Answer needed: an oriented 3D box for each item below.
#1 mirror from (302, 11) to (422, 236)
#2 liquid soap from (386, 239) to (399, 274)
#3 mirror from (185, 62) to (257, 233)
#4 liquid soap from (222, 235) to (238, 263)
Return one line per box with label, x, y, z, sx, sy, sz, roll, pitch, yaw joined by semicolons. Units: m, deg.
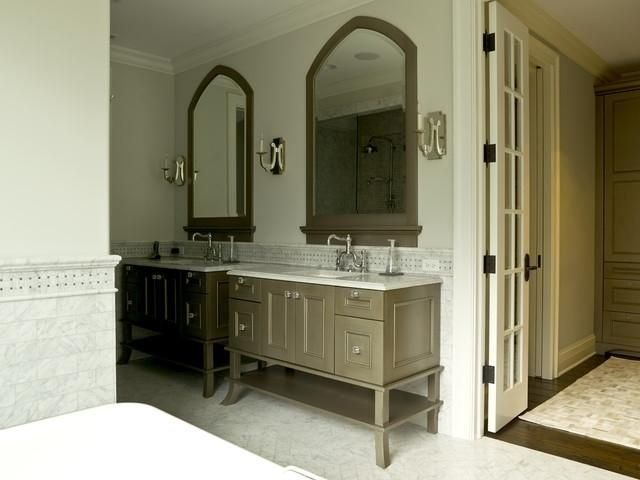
mirror;0.318;-0.874;3.904;1.122;1.789;0.196;5;8;38
liquid soap;0.542;0.118;3.651;0.096;0.238;0.224;1;7;8
mirror;-1.014;-0.876;4.947;1.072;1.730;0.195;5;8;39
liquid soap;-0.883;0.085;4.850;0.077;0.248;0.234;5;-7;-38
